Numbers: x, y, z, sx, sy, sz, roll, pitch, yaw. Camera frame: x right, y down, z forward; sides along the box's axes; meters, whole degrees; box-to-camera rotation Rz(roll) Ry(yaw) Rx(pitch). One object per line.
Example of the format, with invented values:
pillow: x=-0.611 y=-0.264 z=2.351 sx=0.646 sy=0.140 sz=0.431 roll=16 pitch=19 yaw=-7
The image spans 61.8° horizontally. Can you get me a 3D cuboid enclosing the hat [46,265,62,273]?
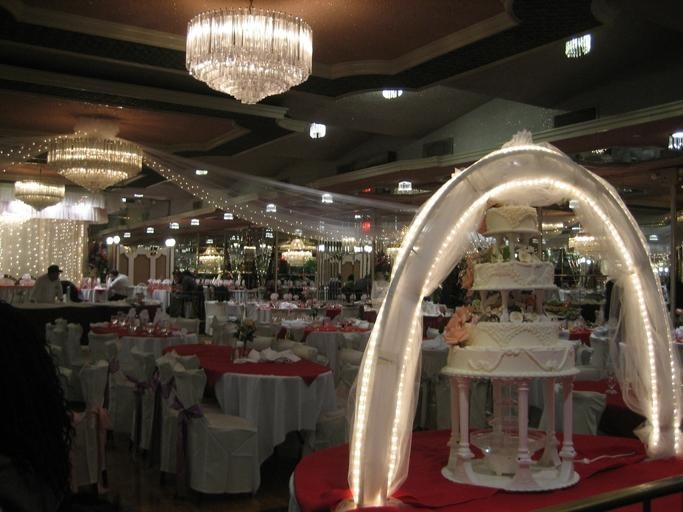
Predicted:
hat: x=-6.032 y=0.276 z=11.925 sx=0.302 sy=0.181 sz=0.223 roll=-2 pitch=2 yaw=-24

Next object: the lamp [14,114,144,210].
lamp: x=-4.591 y=-1.617 z=9.773 sx=1.251 sy=0.761 sz=0.797 roll=-15 pitch=-16 yaw=29

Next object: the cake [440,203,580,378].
cake: x=1.097 y=0.213 z=3.909 sx=0.915 sy=1.107 sz=0.968 roll=9 pitch=-1 yaw=9
